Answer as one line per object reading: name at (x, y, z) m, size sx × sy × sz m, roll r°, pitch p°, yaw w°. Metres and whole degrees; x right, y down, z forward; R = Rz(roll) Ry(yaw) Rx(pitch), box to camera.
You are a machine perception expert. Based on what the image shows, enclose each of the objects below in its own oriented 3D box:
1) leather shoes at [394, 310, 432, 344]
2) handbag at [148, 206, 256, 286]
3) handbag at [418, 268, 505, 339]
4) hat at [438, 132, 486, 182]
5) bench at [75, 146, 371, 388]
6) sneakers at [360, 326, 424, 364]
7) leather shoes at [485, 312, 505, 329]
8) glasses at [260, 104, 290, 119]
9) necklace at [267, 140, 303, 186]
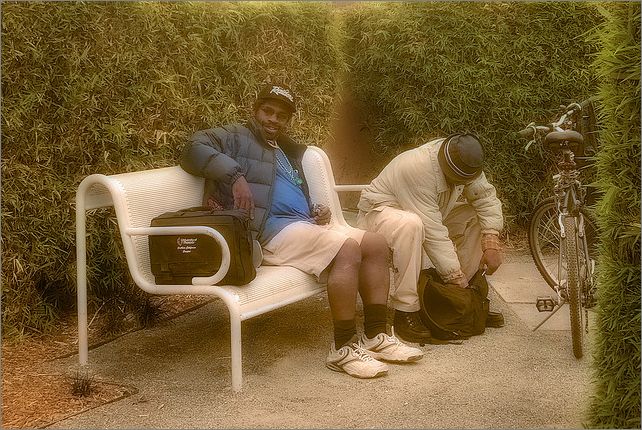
leather shoes at (0.696, 0.850, 4.233) m, size 0.176 × 0.213 × 0.355 m, roll 12°, pitch -1°, yaw -37°
handbag at (-0.715, 0.166, 3.693) m, size 0.848 × 0.638 × 0.460 m, roll 0°, pitch 4°, yaw 12°
handbag at (1.041, 0.697, 4.356) m, size 0.603 × 0.415 × 0.434 m, roll -9°, pitch 1°, yaw -15°
hat at (1.042, -0.418, 4.175) m, size 0.326 × 0.367 × 0.142 m, roll -9°, pitch -1°, yaw -4°
bench at (-0.996, 0.215, 4.646) m, size 1.205 × 1.171 × 2.461 m, roll 9°, pitch 11°, yaw 1°
sneakers at (0.486, 0.921, 3.938) m, size 0.495 × 0.218 × 0.187 m, roll 3°, pitch 2°, yaw 24°
leather shoes at (1.394, 0.846, 4.432) m, size 0.108 × 0.102 × 0.160 m, roll 3°, pitch 3°, yaw 7°
glasses at (-0.350, -0.788, 4.237) m, size 0.113 × 0.055 × 0.144 m, roll 15°, pitch -7°, yaw -15°
necklace at (-0.305, -0.399, 4.399) m, size 0.069 × 0.374 × 0.206 m, roll -44°, pitch -35°, yaw 24°
